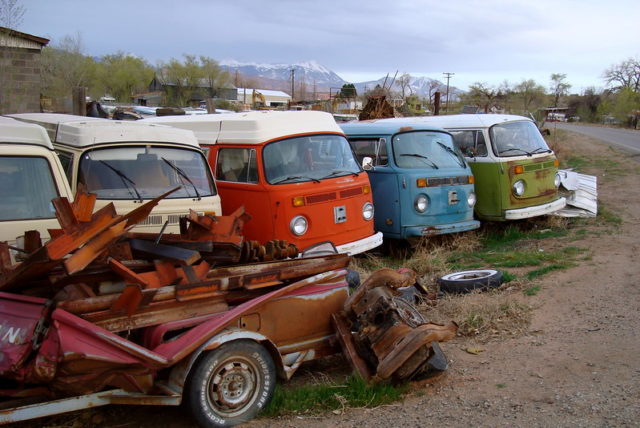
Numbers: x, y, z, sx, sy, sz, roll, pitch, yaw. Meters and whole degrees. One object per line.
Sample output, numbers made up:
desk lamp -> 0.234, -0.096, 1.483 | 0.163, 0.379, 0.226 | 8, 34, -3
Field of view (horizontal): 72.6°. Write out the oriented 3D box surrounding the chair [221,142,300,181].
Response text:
chair -> -1.112, -0.906, 7.797 | 0.993, 0.458, 0.859 | 7, 13, 38

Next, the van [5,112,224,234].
van -> -4.071, -0.521, 8.026 | 4.819, 2.120, 2.623 | 13, 12, 40

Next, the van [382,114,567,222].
van -> 4.797, -1.287, 10.850 | 4.204, 1.890, 2.465 | 5, 11, 44

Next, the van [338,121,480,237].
van -> 1.802, -0.859, 9.998 | 2.132, 1.530, 3.114 | -7, 9, -39
